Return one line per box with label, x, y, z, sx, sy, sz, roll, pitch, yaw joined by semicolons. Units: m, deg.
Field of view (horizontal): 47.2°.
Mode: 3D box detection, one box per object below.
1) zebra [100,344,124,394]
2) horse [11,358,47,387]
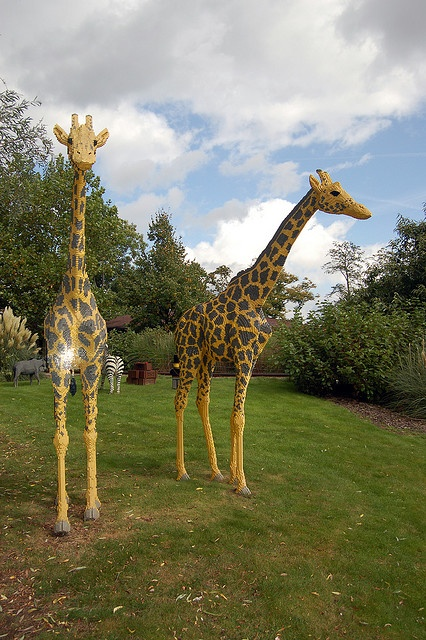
zebra;-2.825;1.292;13.675;0.509;1.392;1.871;5;-3;-21
horse;-5.139;1.465;13.656;0.616;0.724;1.422;4;3;-6
